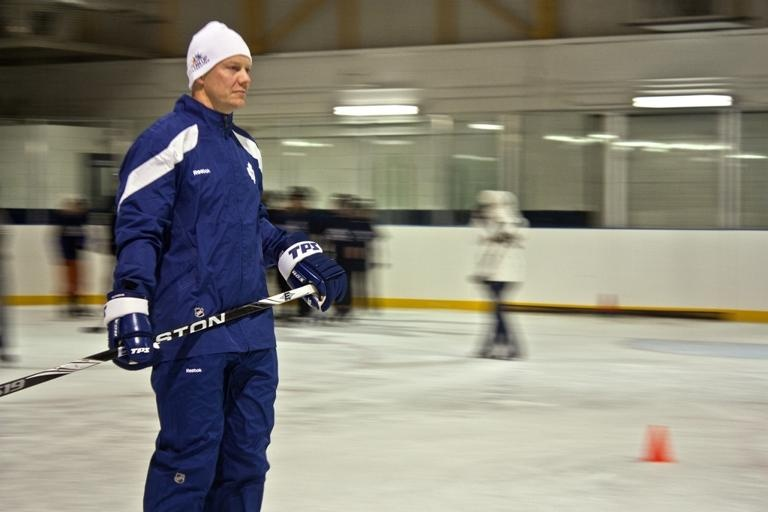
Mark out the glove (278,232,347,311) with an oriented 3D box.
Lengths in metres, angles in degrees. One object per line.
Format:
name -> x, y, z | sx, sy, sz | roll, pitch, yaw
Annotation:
glove -> -0.517, 0.111, 7.814 | 0.402, 0.546, 0.253 | -52, -15, 29

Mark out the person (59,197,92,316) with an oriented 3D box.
person -> -4.382, 0.031, 15.964 | 0.394, 1.588, 0.701 | -3, 11, -15

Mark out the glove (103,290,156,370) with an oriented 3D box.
glove -> -1.675, 0.507, 7.457 | 0.313, 0.505, 0.191 | -2, 11, -12

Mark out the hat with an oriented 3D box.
hat -> -1.162, -1.397, 7.843 | 0.538, 0.395, 0.432 | 5, 5, 19
